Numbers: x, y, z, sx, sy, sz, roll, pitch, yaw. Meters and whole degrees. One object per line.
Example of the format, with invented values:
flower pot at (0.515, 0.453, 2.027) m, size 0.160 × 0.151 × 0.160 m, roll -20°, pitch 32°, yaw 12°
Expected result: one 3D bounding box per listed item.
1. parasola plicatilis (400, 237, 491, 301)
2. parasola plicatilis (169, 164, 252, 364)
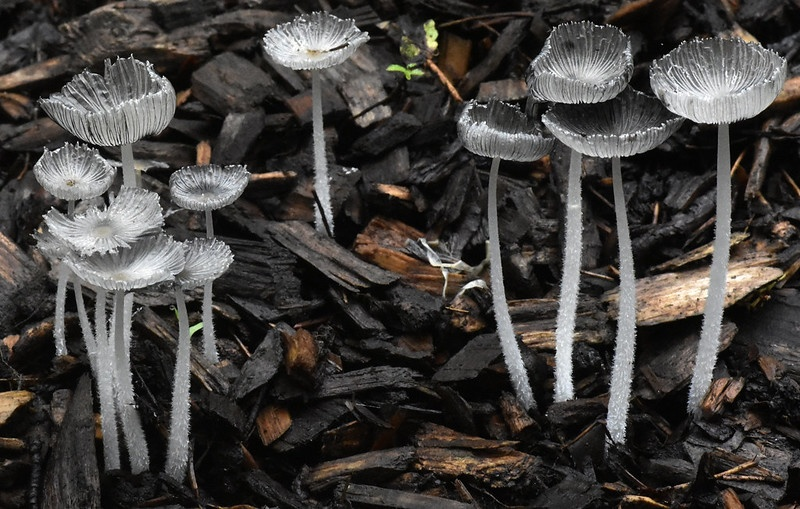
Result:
parasola plicatilis at (0.440, 0.047, 8.731) m, size 0.685 × 0.293 × 0.636 m, roll 14°, pitch 21°, yaw 1°
parasola plicatilis at (-1.740, 0.139, 8.127) m, size 0.762 × 1.876 × 0.867 m, roll 15°, pitch 42°, yaw 11°
